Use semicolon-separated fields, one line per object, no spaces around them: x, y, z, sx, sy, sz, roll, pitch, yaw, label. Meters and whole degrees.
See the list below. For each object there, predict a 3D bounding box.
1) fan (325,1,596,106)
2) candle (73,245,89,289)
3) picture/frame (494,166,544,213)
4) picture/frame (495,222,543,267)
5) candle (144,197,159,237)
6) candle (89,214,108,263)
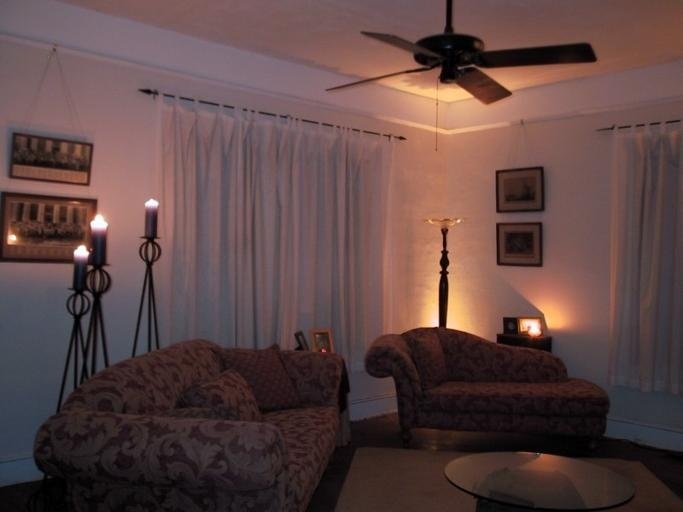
1.040;-1.321;3.694;1.122;0.444;1.109;0;4;19;fan
-1.782;0.088;3.766;0.083;0.311;0.153;-1;5;-20;candle
1.976;-0.733;6.072;0.525;0.510;0.054;-1;-2;35;picture/frame
1.974;-0.128;6.071;0.479;0.497;0.046;-1;-5;37;picture/frame
-1.462;-0.281;4.245;0.082;0.293;0.294;-1;5;-17;candle
-1.723;-0.109;3.905;0.100;0.357;0.300;-1;5;-25;candle
